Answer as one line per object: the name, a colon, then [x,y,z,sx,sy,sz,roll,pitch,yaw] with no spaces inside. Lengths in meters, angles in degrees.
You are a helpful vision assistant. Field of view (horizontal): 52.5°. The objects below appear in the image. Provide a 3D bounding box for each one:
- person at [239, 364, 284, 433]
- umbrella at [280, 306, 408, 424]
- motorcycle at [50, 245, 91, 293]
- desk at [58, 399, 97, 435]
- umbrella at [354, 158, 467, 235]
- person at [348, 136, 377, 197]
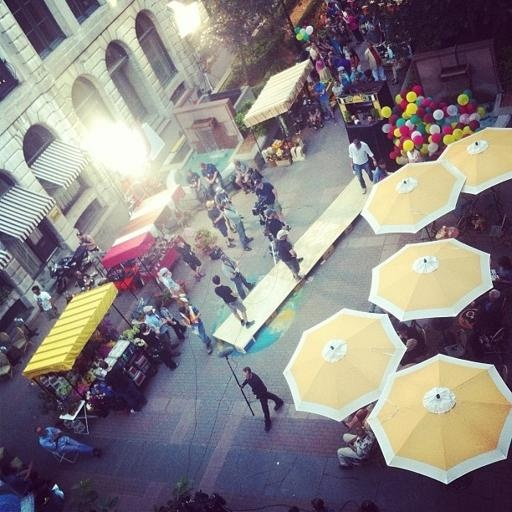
person: [0.147,3.445,12.262,0.686,1.457,0.659,-32,42,-6]
umbrella: [1.621,2.081,10.296,1.858,2.435,2.313,-1,20,5]
motorcycle: [-6.771,0.414,19.429,0.901,1.166,2.078,-6,41,48]
desk: [-5.015,4.596,14.548,0.832,1.039,0.803,9,34,24]
umbrella: [3.631,-1.367,12.224,2.010,0.928,1.810,-54,41,0]
person: [3.217,-2.795,15.888,0.700,1.968,0.701,-11,37,20]
